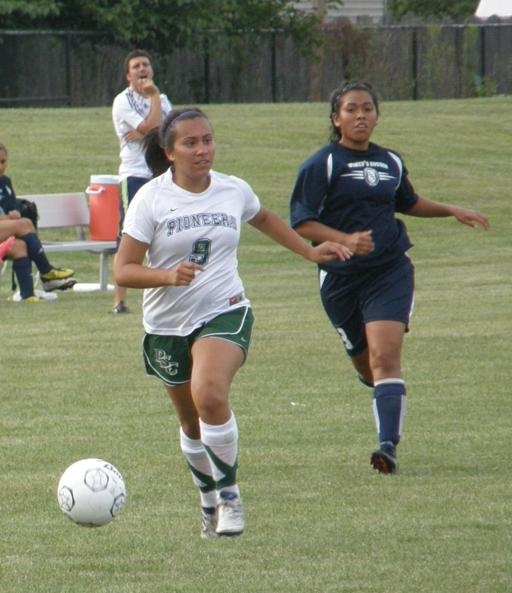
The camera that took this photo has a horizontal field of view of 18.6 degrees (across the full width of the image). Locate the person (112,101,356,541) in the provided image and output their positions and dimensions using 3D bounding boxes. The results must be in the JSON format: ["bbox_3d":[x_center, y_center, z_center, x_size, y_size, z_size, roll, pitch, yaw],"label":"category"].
[{"bbox_3d":[-0.276,0.112,8.463,0.960,2.165,1.246,1,13,7],"label":"person"}]

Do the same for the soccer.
[{"bbox_3d":[-0.865,1.056,8.447,0.391,0.407,0.374,-8,34,-8],"label":"soccer"}]

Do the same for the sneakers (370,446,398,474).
[{"bbox_3d":[0.723,0.938,8.854,0.144,0.158,0.181,0,13,2],"label":"sneakers"}]

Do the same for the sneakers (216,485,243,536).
[{"bbox_3d":[-0.130,1.137,8.147,0.150,0.258,0.218,0,13,0],"label":"sneakers"}]

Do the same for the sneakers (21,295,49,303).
[{"bbox_3d":[-1.893,0.038,13.455,0.197,0.084,0.067,0,28,0],"label":"sneakers"}]

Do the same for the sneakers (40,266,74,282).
[{"bbox_3d":[-1.689,-0.207,13.463,0.294,0.135,0.115,-7,40,-2],"label":"sneakers"}]
